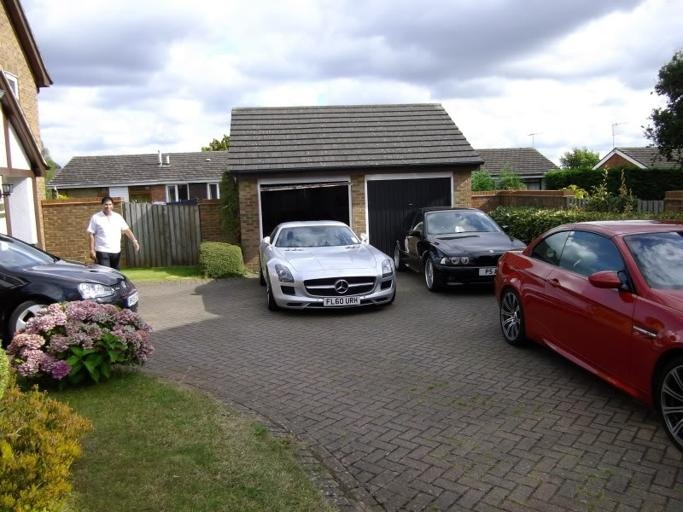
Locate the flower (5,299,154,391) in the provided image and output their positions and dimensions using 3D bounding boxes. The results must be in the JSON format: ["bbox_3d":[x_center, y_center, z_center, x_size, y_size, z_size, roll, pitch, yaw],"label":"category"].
[{"bbox_3d":[-2.922,0.969,5.164,1.154,0.683,1.189,-5,10,-42],"label":"flower"}]

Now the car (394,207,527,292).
[{"bbox_3d":[2.515,-0.339,11.173,1.520,1.028,3.296,-1,2,-9],"label":"car"}]
